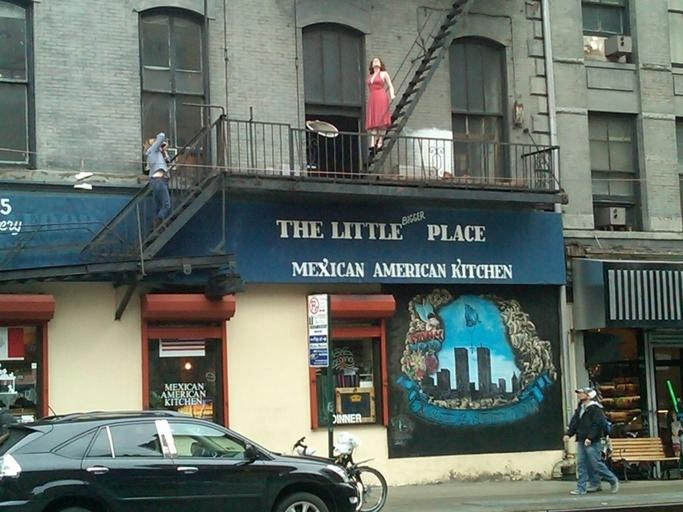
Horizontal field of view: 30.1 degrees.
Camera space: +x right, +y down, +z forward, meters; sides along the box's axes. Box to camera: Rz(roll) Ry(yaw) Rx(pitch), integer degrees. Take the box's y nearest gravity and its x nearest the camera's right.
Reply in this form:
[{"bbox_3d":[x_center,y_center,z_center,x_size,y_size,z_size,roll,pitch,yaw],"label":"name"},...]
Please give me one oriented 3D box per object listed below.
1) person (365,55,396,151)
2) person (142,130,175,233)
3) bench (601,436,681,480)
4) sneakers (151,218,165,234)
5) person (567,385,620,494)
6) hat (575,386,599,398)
[{"bbox_3d":[0.856,-3.290,27.648,0.589,2.095,0.976,-2,-6,-4],"label":"person"},{"bbox_3d":[-3.720,-1.550,25.993,0.491,1.902,0.899,-2,-6,-8],"label":"person"},{"bbox_3d":[6.594,4.450,28.243,1.198,0.671,0.554,4,-11,-20],"label":"bench"},{"bbox_3d":[-3.656,-0.647,25.601,0.182,0.343,0.193,25,-31,-37],"label":"sneakers"},{"bbox_3d":[5.162,3.749,26.165,0.925,2.113,0.800,-3,-6,10],"label":"person"},{"bbox_3d":[5.234,2.861,27.182,0.458,0.249,0.304,17,-2,1],"label":"hat"}]
